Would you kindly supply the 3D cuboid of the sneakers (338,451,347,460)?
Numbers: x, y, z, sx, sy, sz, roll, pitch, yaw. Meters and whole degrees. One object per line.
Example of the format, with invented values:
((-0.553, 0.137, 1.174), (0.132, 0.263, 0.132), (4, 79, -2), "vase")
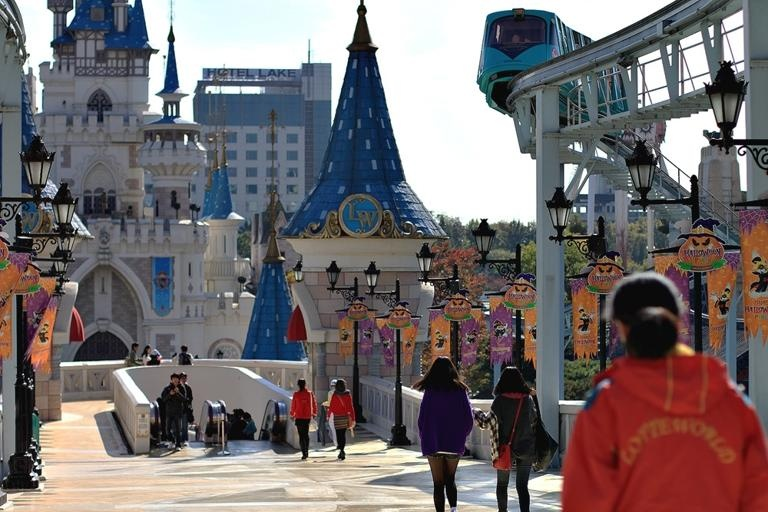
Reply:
((-1.078, 5.099, 47.791), (0.171, 0.326, 0.230), (0, -11, -1), "sneakers")

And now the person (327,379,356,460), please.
((-1.094, 4.158, 47.681), (0.625, 2.007, 0.754), (0, -3, 0), "person")

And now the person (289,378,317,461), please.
((-2.106, 4.221, 48.632), (0.637, 2.013, 1.478), (0, -3, -3), "person")

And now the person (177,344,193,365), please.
((-6.329, 3.187, 59.784), (0.403, 0.591, 0.902), (0, -3, -7), "person")

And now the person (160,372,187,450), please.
((-5.645, 4.177, 50.324), (0.616, 1.967, 0.930), (0, -3, -9), "person")

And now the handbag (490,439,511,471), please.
((2.619, 4.445, 41.491), (0.402, 0.574, 0.235), (0, -3, -1), "handbag")
